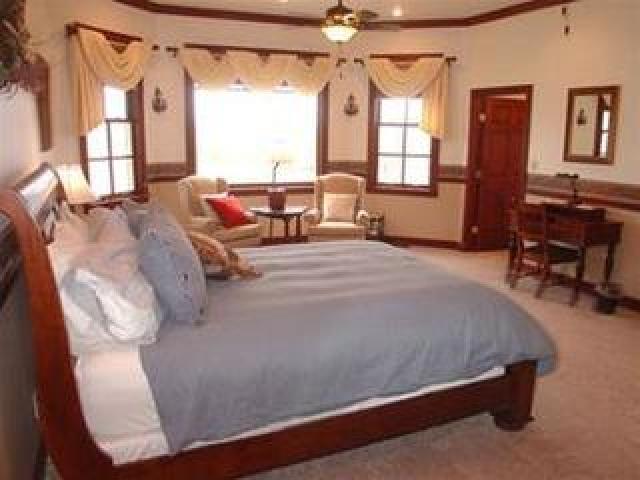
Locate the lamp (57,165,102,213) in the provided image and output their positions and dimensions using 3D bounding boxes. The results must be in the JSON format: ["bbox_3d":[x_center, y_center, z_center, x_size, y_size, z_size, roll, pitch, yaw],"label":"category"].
[{"bbox_3d":[-2.264,-0.505,4.479,0.350,0.385,0.344,-19,15,-19],"label":"lamp"}]

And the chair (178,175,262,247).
[{"bbox_3d":[-1.252,-0.314,6.504,1.040,1.299,0.961,10,15,34],"label":"chair"}]

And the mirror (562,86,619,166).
[{"bbox_3d":[3.141,-1.310,5.436,0.119,0.860,0.636,-6,13,-23],"label":"mirror"}]

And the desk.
[{"bbox_3d":[2.743,0.044,5.516,0.801,1.284,1.062,-11,18,-23],"label":"desk"}]

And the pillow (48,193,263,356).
[{"bbox_3d":[-1.161,0.202,2.894,0.836,0.661,0.942,-8,14,-31],"label":"pillow"}]

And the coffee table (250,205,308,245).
[{"bbox_3d":[-0.501,-0.221,6.525,0.672,0.549,0.575,11,16,42],"label":"coffee table"}]

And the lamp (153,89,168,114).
[{"bbox_3d":[-2.244,-1.942,6.590,0.200,0.363,0.206,-4,12,-15],"label":"lamp"}]
